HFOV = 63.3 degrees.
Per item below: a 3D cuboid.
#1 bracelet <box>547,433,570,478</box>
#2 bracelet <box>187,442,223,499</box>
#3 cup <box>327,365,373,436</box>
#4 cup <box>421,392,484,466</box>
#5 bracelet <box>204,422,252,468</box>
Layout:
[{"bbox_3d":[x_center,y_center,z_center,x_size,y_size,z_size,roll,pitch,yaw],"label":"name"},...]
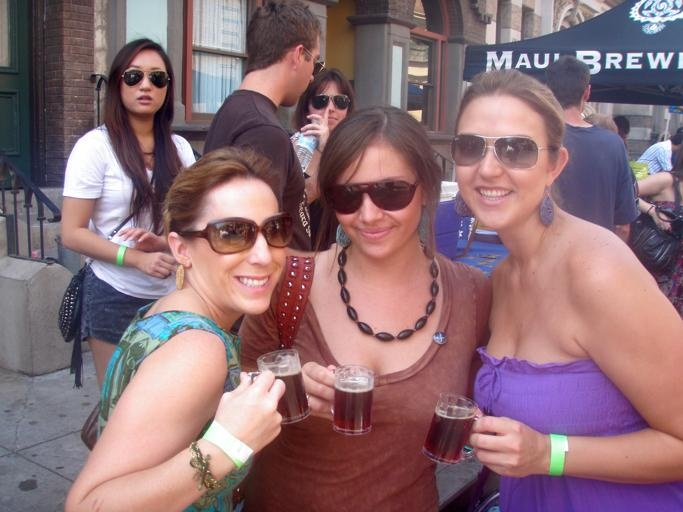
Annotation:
[{"bbox_3d":[0.805,0.740,2.059,0.068,0.143,0.047,4,10,11],"label":"bracelet"},{"bbox_3d":[-0.399,0.639,1.668,0.055,0.157,0.100,0,18,34],"label":"bracelet"},{"bbox_3d":[0.047,0.547,2.121,0.151,0.269,0.091,1,9,-2],"label":"cup"},{"bbox_3d":[0.425,0.663,2.140,0.205,0.288,0.106,4,10,11],"label":"cup"},{"bbox_3d":[-0.337,0.567,1.670,0.167,0.094,0.043,44,-25,-18],"label":"bracelet"}]
